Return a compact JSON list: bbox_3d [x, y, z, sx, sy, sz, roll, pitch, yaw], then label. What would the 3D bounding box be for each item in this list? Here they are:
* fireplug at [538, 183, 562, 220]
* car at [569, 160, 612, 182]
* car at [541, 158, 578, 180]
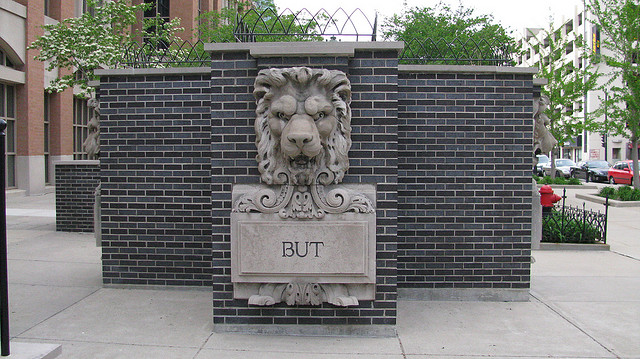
[{"bbox_3d":[8.328,0.689,25.861,0.904,0.988,0.564,-1,2,5],"label":"fireplug"},{"bbox_3d":[18.466,-0.622,48.107,1.507,0.830,2.820,0,-2,-6],"label":"car"},{"bbox_3d":[17.609,-0.919,52.671,1.974,1.253,4.121,-1,-2,2],"label":"car"}]
